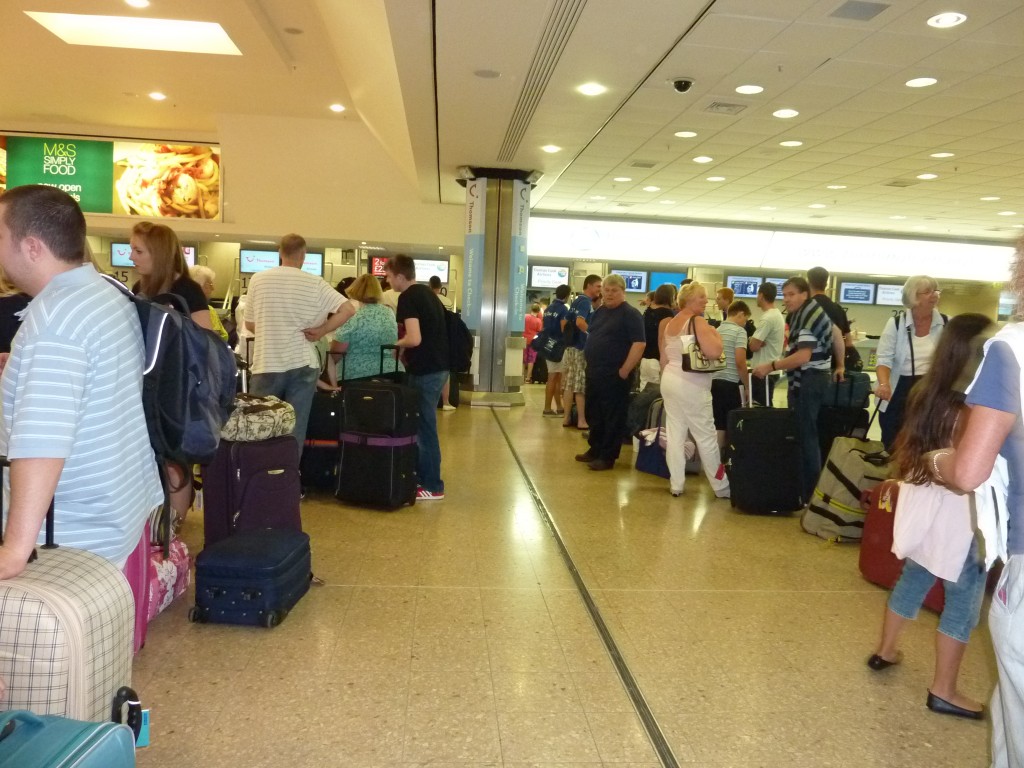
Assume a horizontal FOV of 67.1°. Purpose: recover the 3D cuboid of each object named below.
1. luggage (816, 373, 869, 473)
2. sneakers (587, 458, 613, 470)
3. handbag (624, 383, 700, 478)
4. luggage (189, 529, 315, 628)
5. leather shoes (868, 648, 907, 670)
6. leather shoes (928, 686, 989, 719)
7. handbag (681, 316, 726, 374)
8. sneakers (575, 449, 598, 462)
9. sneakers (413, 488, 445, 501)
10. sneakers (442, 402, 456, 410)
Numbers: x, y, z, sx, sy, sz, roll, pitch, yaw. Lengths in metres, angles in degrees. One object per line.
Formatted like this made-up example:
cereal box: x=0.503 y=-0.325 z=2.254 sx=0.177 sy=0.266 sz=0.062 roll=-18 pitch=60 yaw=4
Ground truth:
luggage: x=2.618 y=0.194 z=6.015 sx=0.355 sy=0.565 sz=0.310 roll=3 pitch=30 yaw=29
sneakers: x=0.770 y=0.697 z=6.716 sx=0.201 sy=0.080 sz=0.090 roll=6 pitch=-3 yaw=-20
handbag: x=1.364 y=0.369 z=6.761 sx=0.680 sy=0.970 sz=0.701 roll=-4 pitch=5 yaw=-13
luggage: x=-1.231 y=0.901 z=3.693 sx=0.403 sy=0.324 sz=0.453 roll=4 pitch=10 yaw=7
leather shoes: x=1.680 y=1.216 z=3.445 sx=0.175 sy=0.062 sz=0.063 roll=-16 pitch=21 yaw=-25
leather shoes: x=1.786 y=1.289 z=3.124 sx=0.233 sy=0.087 sz=0.075 roll=-1 pitch=-2 yaw=9
handbag: x=1.407 y=-0.280 z=5.700 sx=0.504 sy=0.500 sz=0.172 roll=-2 pitch=2 yaw=-33
sneakers: x=0.684 y=0.655 z=7.076 sx=0.198 sy=0.133 sz=0.075 roll=6 pitch=6 yaw=13
sneakers: x=-0.600 y=0.788 z=5.549 sx=0.201 sy=0.082 sz=0.073 roll=-1 pitch=0 yaw=-14
sneakers: x=-0.841 y=0.300 z=10.348 sx=0.187 sy=0.122 sz=0.067 roll=-5 pitch=9 yaw=-14
